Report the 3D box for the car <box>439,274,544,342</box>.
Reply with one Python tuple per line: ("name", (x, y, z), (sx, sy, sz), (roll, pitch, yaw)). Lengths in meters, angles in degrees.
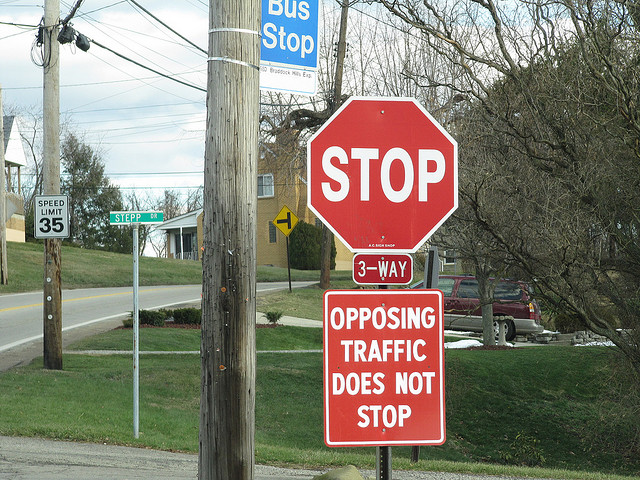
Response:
("car", (5.130, 1.733, 27.896), (3.929, 2.147, 2.247), (3, -3, 13))
